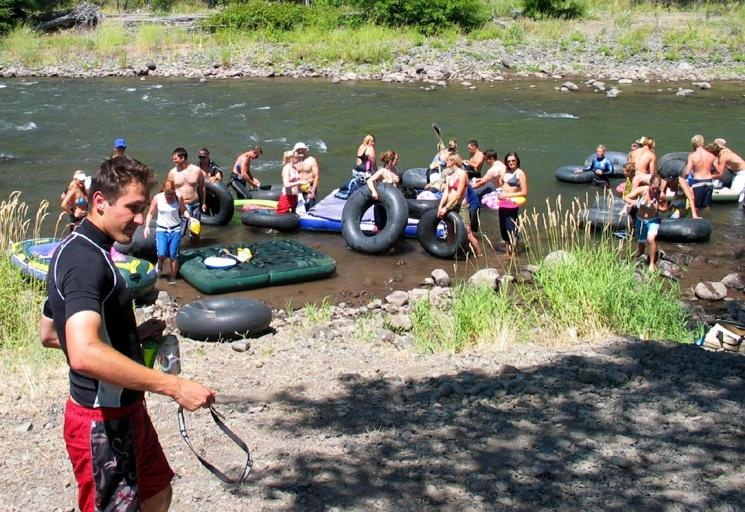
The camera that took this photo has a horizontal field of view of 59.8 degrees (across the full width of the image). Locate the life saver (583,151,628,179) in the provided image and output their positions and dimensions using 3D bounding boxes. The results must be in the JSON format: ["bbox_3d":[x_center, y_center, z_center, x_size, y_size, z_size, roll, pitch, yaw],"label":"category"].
[{"bbox_3d":[6.105,-2.471,16.845,1.061,0.339,1.043,-29,35,-29],"label":"life saver"}]

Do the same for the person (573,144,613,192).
[{"bbox_3d":[5.548,-1.908,16.005,0.519,1.541,0.876,-30,31,-32],"label":"person"}]

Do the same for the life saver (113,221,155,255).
[{"bbox_3d":[-3.075,-0.205,8.373,0.749,0.244,0.523,-5,39,-14],"label":"life saver"}]

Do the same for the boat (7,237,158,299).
[{"bbox_3d":[-3.137,0.142,6.833,1.151,0.260,0.645,19,16,12],"label":"boat"}]

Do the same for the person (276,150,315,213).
[{"bbox_3d":[-1.662,-1.294,13.514,0.781,1.729,0.664,-4,29,-16],"label":"person"}]

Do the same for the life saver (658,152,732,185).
[{"bbox_3d":[7.112,-1.892,14.183,1.131,0.320,1.087,-18,22,-17],"label":"life saver"}]
